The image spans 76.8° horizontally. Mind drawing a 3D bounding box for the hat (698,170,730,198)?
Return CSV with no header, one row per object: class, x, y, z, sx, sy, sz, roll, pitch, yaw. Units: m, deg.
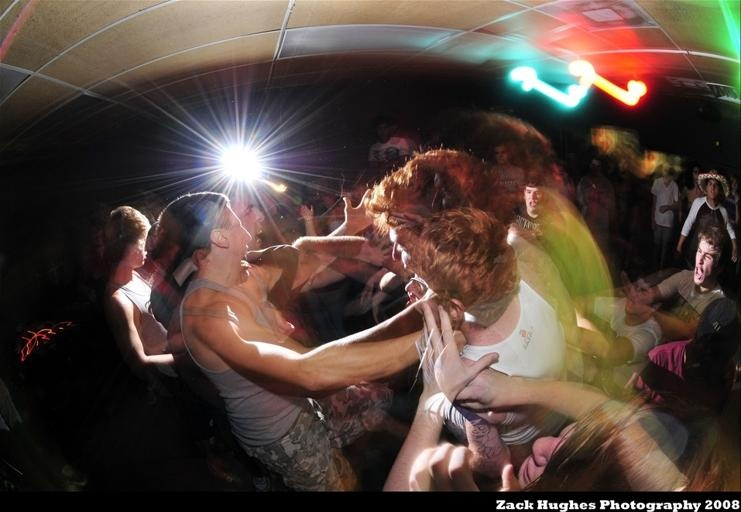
hat,1.797,-0.385,2.467,0.126,0.142,0.038,-45,1,39
